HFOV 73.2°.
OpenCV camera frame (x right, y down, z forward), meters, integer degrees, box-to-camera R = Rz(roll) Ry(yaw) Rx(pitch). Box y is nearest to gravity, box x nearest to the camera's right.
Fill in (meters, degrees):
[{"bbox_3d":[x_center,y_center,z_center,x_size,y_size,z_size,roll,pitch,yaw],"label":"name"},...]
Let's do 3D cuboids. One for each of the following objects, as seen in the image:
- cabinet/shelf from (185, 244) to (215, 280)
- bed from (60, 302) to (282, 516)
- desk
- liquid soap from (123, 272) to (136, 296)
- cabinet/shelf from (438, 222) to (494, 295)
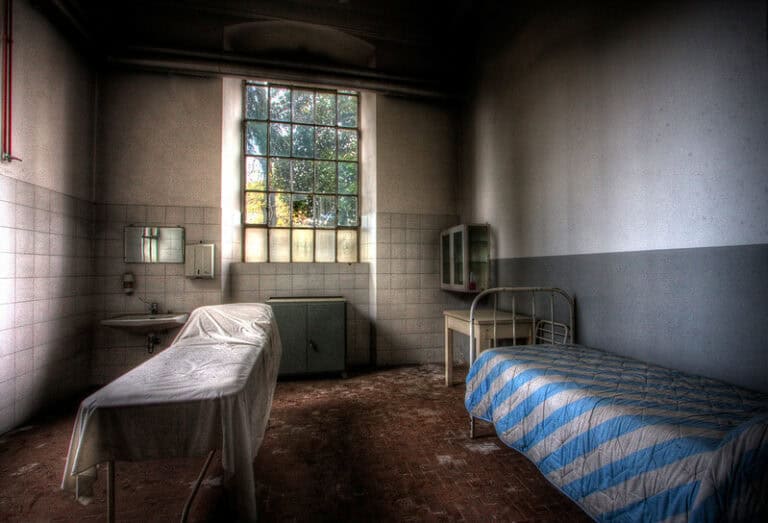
[{"bbox_3d":[-2.284,-0.006,6.389,0.320,0.394,0.110,-2,3,-13],"label":"cabinet/shelf"},{"bbox_3d":[-1.707,1.218,4.473,1.377,1.496,1.527,-1,2,-5],"label":"bed"},{"bbox_3d":[1.244,0.733,6.031,0.837,1.135,1.174,0,-1,-12],"label":"desk"},{"bbox_3d":[-3.127,0.269,6.325,0.135,0.275,0.067,-1,3,6],"label":"liquid soap"},{"bbox_3d":[1.094,-0.040,6.724,0.371,0.961,0.967,0,1,-11],"label":"cabinet/shelf"}]
